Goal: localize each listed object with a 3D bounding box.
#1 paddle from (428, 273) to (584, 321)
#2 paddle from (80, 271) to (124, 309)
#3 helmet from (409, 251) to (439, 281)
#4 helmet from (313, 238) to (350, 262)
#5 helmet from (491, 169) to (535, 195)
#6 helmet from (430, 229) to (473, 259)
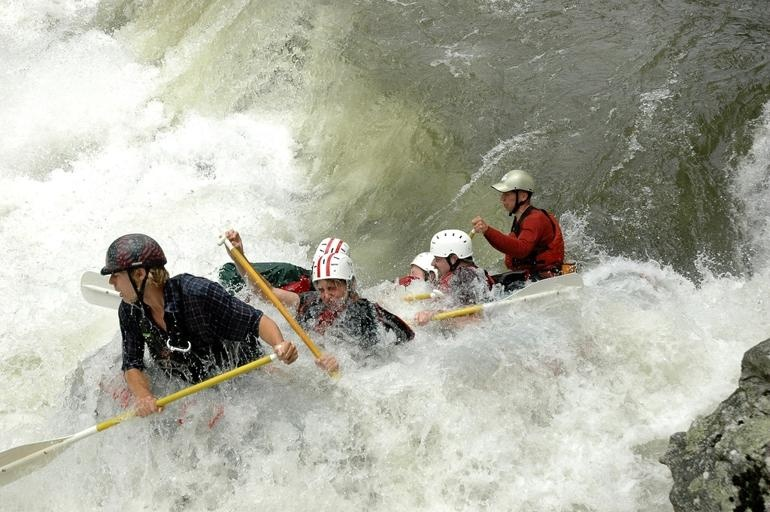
[{"bbox_3d":[2.051,0.738,16.283,1.844,0.277,0.098,-16,85,-1],"label":"paddle"},{"bbox_3d":[-4.986,0.615,16.723,1.125,0.166,0.488,26,106,22],"label":"paddle"},{"bbox_3d":[0.709,0.204,17.360,0.358,0.441,0.520,1,85,24],"label":"helmet"},{"bbox_3d":[-0.915,-0.123,15.797,0.486,0.427,0.384,-38,52,32],"label":"helmet"},{"bbox_3d":[2.340,-1.319,17.365,0.573,0.464,0.333,6,98,0],"label":"helmet"},{"bbox_3d":[1.148,-0.183,16.778,0.578,0.474,0.373,3,97,9],"label":"helmet"}]
